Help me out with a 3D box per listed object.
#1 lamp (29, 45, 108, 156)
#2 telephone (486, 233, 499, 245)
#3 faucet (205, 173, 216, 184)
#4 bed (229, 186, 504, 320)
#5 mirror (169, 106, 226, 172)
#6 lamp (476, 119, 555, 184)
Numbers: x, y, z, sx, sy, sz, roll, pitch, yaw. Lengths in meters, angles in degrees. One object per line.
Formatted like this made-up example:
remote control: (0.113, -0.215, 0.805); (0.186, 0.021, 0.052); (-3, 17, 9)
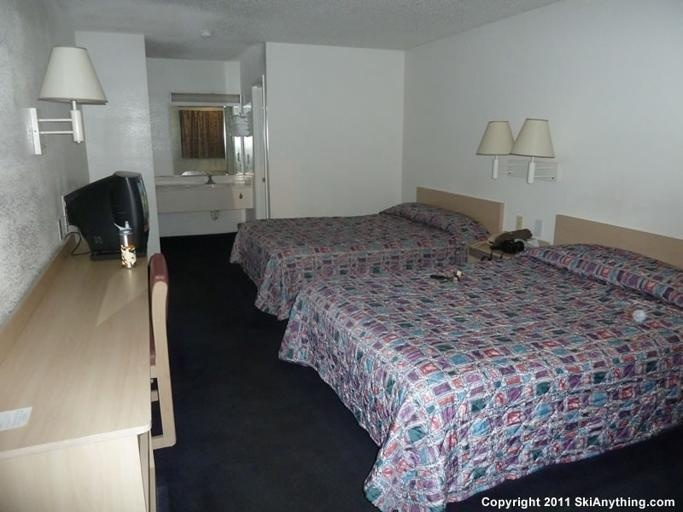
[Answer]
lamp: (-1.641, -0.905, 2.831); (0.429, 0.620, 0.329); (-3, 19, -17)
telephone: (1.418, -0.155, 4.422); (0.121, 0.032, 0.061); (-40, 33, -23)
faucet: (-2.005, -1.181, 7.278); (0.140, 0.155, 0.139); (-3, 12, -11)
bed: (0.242, -0.144, 4.681); (1.918, 0.676, 1.588); (-6, 21, -20)
mirror: (-2.208, -1.797, 7.155); (0.948, 1.183, 0.079); (-4, 12, -26)
lamp: (1.526, -0.921, 4.172); (0.321, 0.511, 0.747); (-9, 17, -32)
